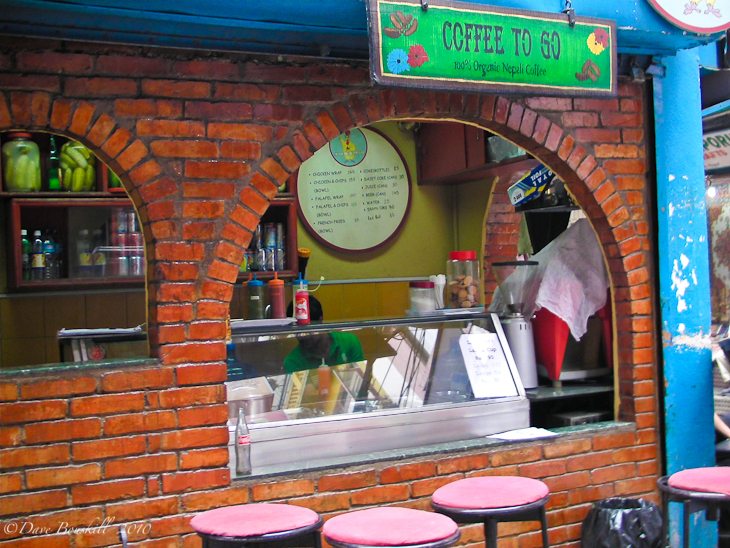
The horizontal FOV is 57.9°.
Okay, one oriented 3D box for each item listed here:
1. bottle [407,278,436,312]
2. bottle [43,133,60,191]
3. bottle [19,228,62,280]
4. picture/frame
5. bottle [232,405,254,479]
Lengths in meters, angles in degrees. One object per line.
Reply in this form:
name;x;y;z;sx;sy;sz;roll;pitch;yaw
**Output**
bottle;0.375;0.151;4.328;0.181;0.219;0.176;-3;-6;4
bottle;-2.454;-0.873;5.162;0.119;0.427;0.138;-2;-6;-6
bottle;-2.516;-0.150;5.138;0.277;0.377;0.086;0;-7;-25
picture/frame;-0.147;-0.778;6.111;1.161;1.264;0.140;-5;3;-21
bottle;-0.644;0.877;3.474;0.089;0.359;0.182;-1;-6;-11
